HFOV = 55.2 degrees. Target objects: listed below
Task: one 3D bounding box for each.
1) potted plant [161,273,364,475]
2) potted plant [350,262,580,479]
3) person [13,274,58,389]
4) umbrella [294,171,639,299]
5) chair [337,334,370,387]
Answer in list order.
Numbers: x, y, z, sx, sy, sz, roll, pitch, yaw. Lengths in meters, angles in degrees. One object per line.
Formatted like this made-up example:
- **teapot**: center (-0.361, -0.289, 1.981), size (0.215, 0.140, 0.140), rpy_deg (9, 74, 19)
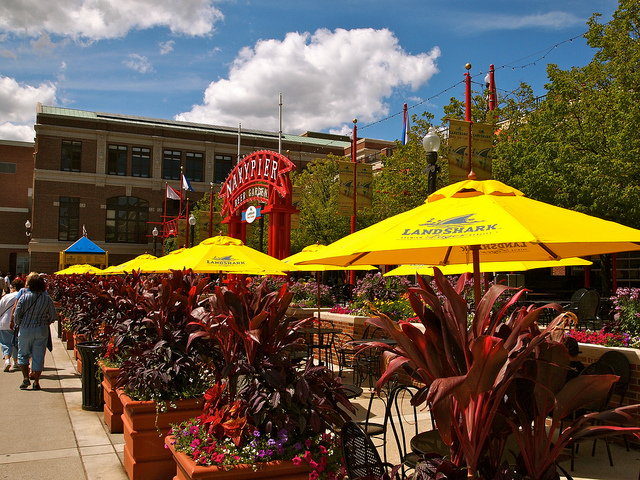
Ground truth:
- **potted plant**: center (-0.639, 1.478, 6.602), size (1.823, 2.067, 0.972), rpy_deg (-1, 1, -3)
- **potted plant**: center (1.487, 1.479, 6.807), size (2.229, 2.273, 2.270), rpy_deg (8, -13, -34)
- **person**: center (-5.890, 1.879, 12.700), size (0.740, 2.003, 0.648), rpy_deg (-2, 1, -29)
- **umbrella**: center (1.742, -0.080, 6.720), size (2.265, 1.117, 2.446), rpy_deg (-3, -1, 20)
- **chair**: center (0.653, 2.479, 12.876), size (0.702, 1.099, 0.774), rpy_deg (-1, 4, 17)
